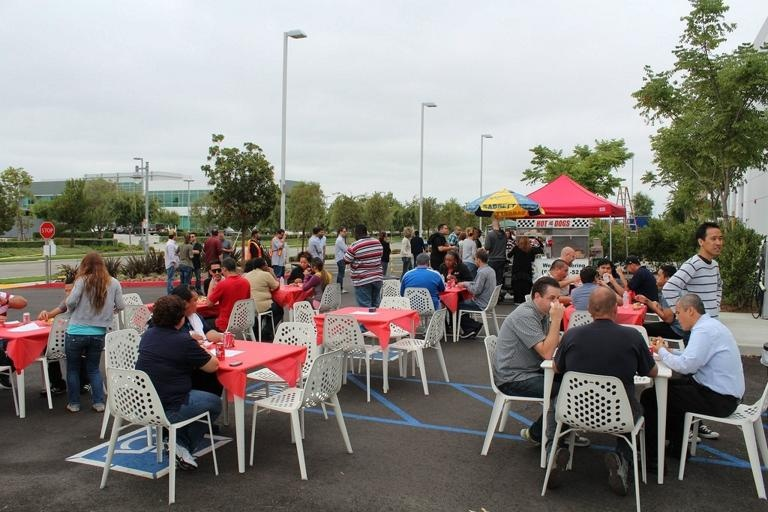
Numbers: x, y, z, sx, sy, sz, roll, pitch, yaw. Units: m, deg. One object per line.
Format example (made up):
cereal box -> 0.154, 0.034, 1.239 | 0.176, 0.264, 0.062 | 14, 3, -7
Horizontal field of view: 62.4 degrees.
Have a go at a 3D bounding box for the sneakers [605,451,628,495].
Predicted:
sneakers -> 2.787, 2.596, 7.606 | 0.224, 0.566, 0.246 | -8, 10, 43

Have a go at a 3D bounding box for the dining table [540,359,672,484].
dining table -> 2.832, 1.835, 8.109 | 1.452, 1.533, 1.597 | -3, -1, 29

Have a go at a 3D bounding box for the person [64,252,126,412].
person -> -4.507, 1.148, 9.834 | 0.678, 2.367, 0.813 | 1, 11, 4

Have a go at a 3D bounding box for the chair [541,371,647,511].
chair -> 2.782, 2.069, 8.197 | 1.422, 2.123, 1.503 | 1, 7, 26

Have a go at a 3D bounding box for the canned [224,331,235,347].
canned -> -2.166, 1.178, 8.960 | 0.157, 0.257, 0.187 | -2, 2, -2

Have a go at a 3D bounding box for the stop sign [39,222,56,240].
stop sign -> -12.541, -0.933, 23.639 | 0.404, 0.705, 1.044 | -6, 12, -30

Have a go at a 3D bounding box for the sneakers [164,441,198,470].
sneakers -> -2.550, 2.550, 8.120 | 0.224, 0.177, 0.494 | -4, 38, -34

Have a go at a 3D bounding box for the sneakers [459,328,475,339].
sneakers -> 1.875, 1.754, 14.288 | 0.396, 0.181, 0.160 | -3, -7, 1

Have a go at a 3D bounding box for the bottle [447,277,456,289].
bottle -> 1.528, 0.614, 14.353 | 0.210, 0.241, 0.226 | -5, -16, 9

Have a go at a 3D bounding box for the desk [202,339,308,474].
desk -> -1.824, 1.989, 8.743 | 1.393, 1.167, 1.348 | -1, -2, 29
